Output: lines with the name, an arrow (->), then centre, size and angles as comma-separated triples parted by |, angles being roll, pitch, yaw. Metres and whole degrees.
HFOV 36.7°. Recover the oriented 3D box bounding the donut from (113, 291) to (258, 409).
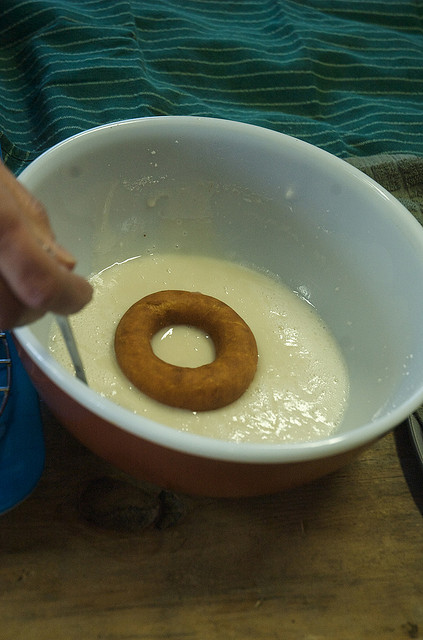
donut -> -0.044, 0.046, 1.109 | 0.245, 0.117, 0.258 | 1, 60, 3
